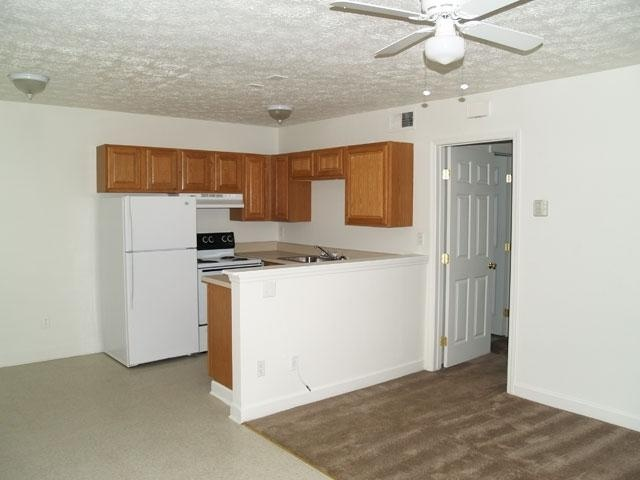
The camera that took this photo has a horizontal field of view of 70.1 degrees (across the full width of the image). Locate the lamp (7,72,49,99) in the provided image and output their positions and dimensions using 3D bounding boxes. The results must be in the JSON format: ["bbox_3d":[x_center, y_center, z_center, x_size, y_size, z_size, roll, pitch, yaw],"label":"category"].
[{"bbox_3d":[-2.649,-1.413,4.183,0.309,0.207,0.234,-5,10,-29],"label":"lamp"}]

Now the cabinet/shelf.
[{"bbox_3d":[-0.672,-0.702,5.915,3.664,1.015,1.556,1,9,7],"label":"cabinet/shelf"}]

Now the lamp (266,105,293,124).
[{"bbox_3d":[-0.493,-1.486,5.350,0.227,0.134,0.226,4,9,37],"label":"lamp"}]
